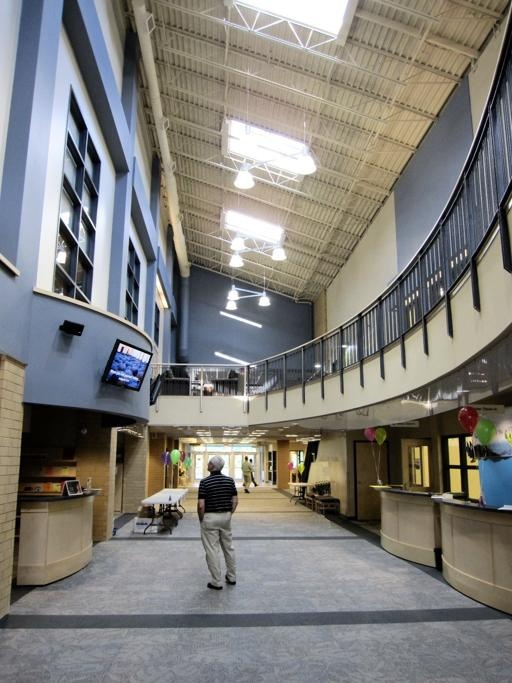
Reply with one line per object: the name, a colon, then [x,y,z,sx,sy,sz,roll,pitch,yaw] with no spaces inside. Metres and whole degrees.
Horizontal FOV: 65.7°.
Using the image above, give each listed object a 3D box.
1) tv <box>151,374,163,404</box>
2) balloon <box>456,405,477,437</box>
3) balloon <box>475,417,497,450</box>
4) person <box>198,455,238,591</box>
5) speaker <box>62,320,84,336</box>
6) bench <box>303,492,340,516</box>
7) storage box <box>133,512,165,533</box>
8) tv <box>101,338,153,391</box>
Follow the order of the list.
tv: [-3.232,1.470,13.010,0.368,1.118,1.929,2,-13,-13]
balloon: [2.739,0.973,5.107,0.200,0.332,0.369,-7,-14,30]
balloon: [2.823,1.108,4.913,0.200,0.324,0.495,-7,-14,28]
person: [-0.464,2.278,5.018,0.416,1.570,0.411,6,-45,-15]
speaker: [-2.363,-0.183,5.138,0.139,0.183,0.231,7,2,15]
bench: [2.485,6.007,14.869,0.796,0.689,2.378,1,-13,-8]
storage box: [-2.803,4.847,10.413,0.457,0.577,0.729,0,-9,1]
tv: [-2.119,0.380,6.615,0.105,0.756,1.191,17,-9,14]
